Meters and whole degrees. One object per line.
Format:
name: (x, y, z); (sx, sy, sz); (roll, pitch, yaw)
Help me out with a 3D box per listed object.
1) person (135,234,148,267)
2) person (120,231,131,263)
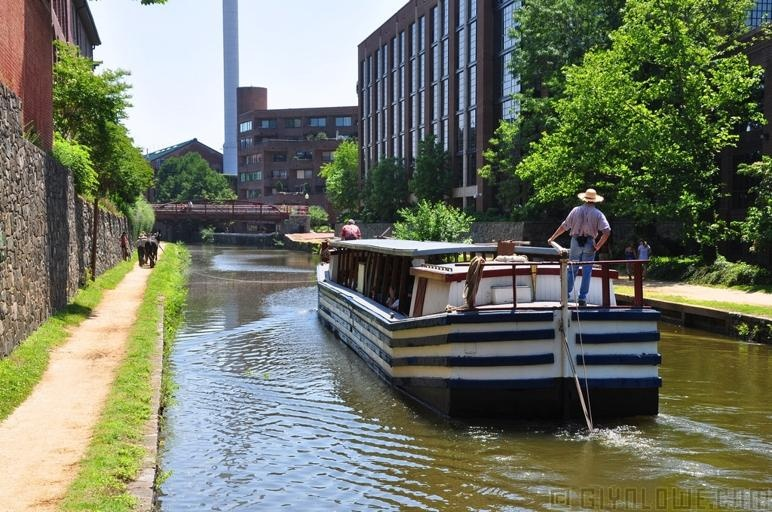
person: (-12.656, -0.227, 43.211); (0.479, 1.398, 1.821); (-4, 13, -16)
person: (-13.555, -0.490, 43.152); (0.358, 1.558, 1.414); (-5, 13, -21)
